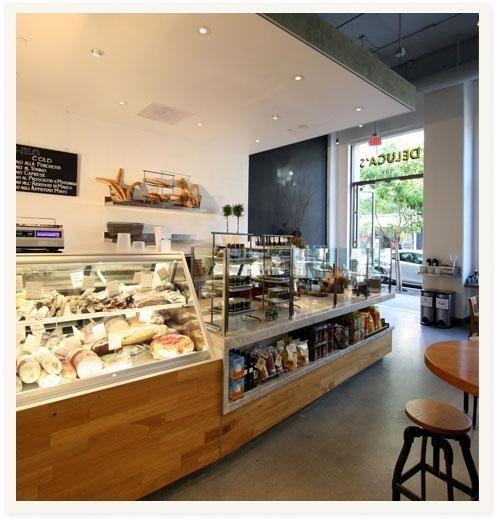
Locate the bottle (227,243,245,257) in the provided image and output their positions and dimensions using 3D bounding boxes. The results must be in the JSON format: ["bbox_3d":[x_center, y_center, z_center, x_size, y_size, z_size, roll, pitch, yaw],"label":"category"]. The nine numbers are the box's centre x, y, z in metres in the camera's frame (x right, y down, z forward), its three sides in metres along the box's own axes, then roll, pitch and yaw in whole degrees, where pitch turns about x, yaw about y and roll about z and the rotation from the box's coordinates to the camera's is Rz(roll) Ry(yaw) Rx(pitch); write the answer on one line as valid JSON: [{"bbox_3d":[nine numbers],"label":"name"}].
[{"bbox_3d":[-0.076,-0.063,2.558,0.082,0.071,0.094,-1,4,-13],"label":"bottle"}]

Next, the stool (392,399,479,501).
[{"bbox_3d":[0.959,1.046,1.946,0.273,0.582,0.315,-5,7,-31],"label":"stool"}]

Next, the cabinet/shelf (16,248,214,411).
[{"bbox_3d":[-0.705,0.281,2.095,1.016,0.651,0.423,-3,5,-39],"label":"cabinet/shelf"}]

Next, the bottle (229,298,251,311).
[{"bbox_3d":[-0.061,0.298,2.589,0.077,0.044,0.114,2,3,16],"label":"bottle"}]

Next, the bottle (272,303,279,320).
[{"bbox_3d":[0.221,0.392,2.981,0.029,0.119,0.095,2,4,23],"label":"bottle"}]

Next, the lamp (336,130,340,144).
[{"bbox_3d":[2.005,-2.706,8.530,0.086,0.275,0.157,2,4,27],"label":"lamp"}]
